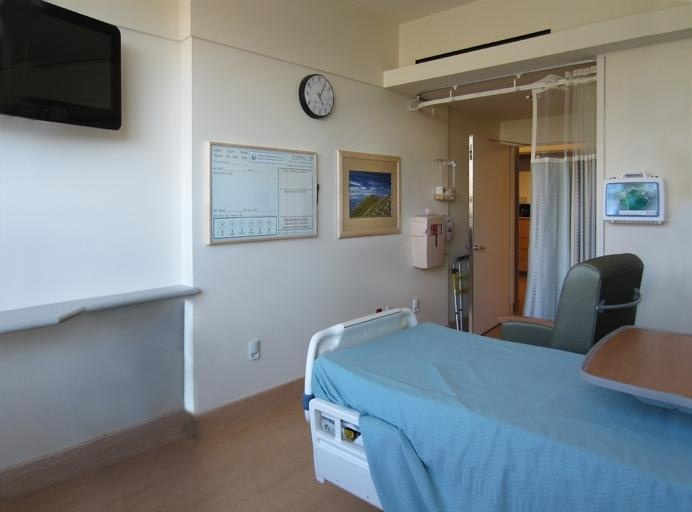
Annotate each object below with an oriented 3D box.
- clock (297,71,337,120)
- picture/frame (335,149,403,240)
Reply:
[{"bbox_3d":[-0.241,-1.360,4.069,0.330,0.351,0.062,-17,22,-40],"label":"clock"},{"bbox_3d":[0.195,-0.594,4.525,0.837,0.922,0.059,-2,4,-42],"label":"picture/frame"}]
